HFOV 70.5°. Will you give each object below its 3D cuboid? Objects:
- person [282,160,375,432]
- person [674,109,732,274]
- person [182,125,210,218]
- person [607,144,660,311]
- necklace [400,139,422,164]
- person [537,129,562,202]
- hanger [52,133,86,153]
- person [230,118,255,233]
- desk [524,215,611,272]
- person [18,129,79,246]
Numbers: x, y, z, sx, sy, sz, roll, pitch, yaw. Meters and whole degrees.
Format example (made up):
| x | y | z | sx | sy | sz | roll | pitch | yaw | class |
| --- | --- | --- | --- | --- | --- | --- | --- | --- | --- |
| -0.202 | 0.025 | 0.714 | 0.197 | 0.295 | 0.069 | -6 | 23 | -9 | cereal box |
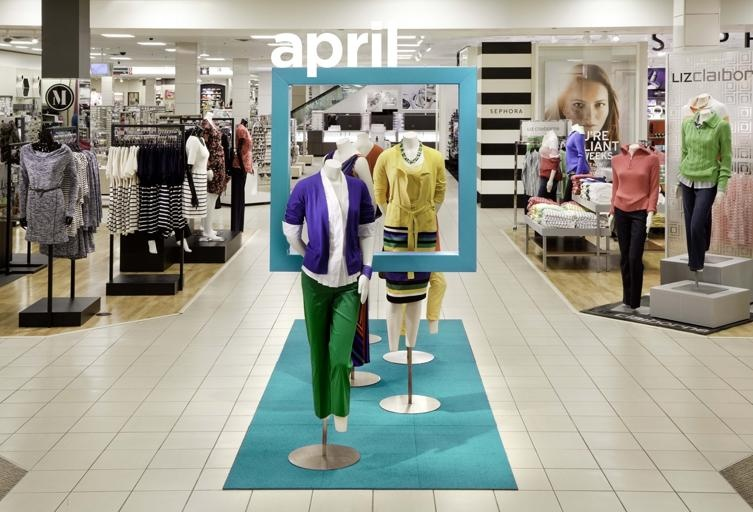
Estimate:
| x | y | z | sx | sy | sz | roll | pitch | yaw | class |
| --- | --- | --- | --- | --- | --- | --- | --- | --- | --- |
| -0.291 | 0.224 | 3.151 | 0.534 | 1.562 | 0.431 | 0 | 11 | 2 | person |
| 3.603 | -0.739 | 5.954 | 0.513 | 1.759 | 0.411 | 10 | 15 | 41 | person |
| -2.509 | -1.091 | 7.277 | 0.248 | 1.106 | 0.575 | 1 | 11 | 4 | person |
| 2.897 | -0.310 | 6.087 | 0.504 | 1.902 | 0.415 | 6 | 13 | 31 | person |
| 0.256 | -0.776 | 3.904 | 0.151 | 0.183 | 0.190 | 2 | 11 | 9 | necklace |
| 3.141 | -1.671 | 9.692 | 0.324 | 1.201 | 0.377 | 10 | 15 | 41 | person |
| -3.484 | -1.319 | 5.996 | 0.260 | 0.075 | 0.262 | -2 | 20 | -45 | hanger |
| -2.647 | -1.528 | 10.270 | 0.448 | 2.214 | 1.307 | -3 | 11 | -15 | person |
| 3.100 | -0.310 | 8.498 | 0.954 | 0.554 | 1.482 | 1 | 7 | 3 | desk |
| -3.511 | -0.705 | 5.672 | 0.519 | 1.181 | 0.450 | 10 | 15 | 42 | person |
